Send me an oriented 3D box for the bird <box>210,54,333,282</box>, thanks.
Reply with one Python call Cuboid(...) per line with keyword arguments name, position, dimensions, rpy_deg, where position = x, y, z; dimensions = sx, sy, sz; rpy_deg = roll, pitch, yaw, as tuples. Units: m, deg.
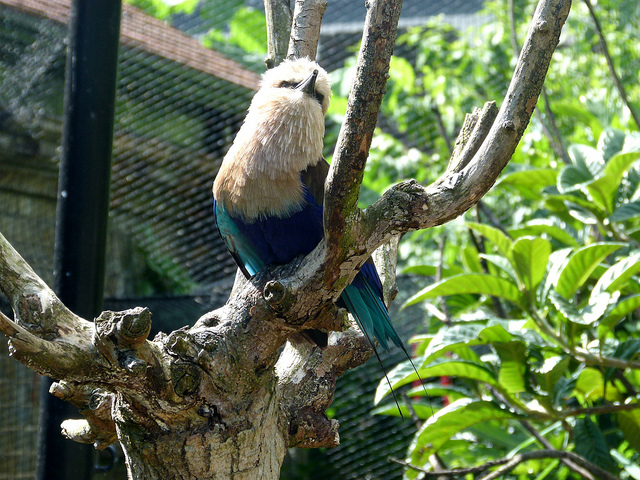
Cuboid(name="bird", position=(-0.264, -0.324, 8.448), dimensions=(0.656, 1.287, 0.691), rpy_deg=(12, 16, -4))
